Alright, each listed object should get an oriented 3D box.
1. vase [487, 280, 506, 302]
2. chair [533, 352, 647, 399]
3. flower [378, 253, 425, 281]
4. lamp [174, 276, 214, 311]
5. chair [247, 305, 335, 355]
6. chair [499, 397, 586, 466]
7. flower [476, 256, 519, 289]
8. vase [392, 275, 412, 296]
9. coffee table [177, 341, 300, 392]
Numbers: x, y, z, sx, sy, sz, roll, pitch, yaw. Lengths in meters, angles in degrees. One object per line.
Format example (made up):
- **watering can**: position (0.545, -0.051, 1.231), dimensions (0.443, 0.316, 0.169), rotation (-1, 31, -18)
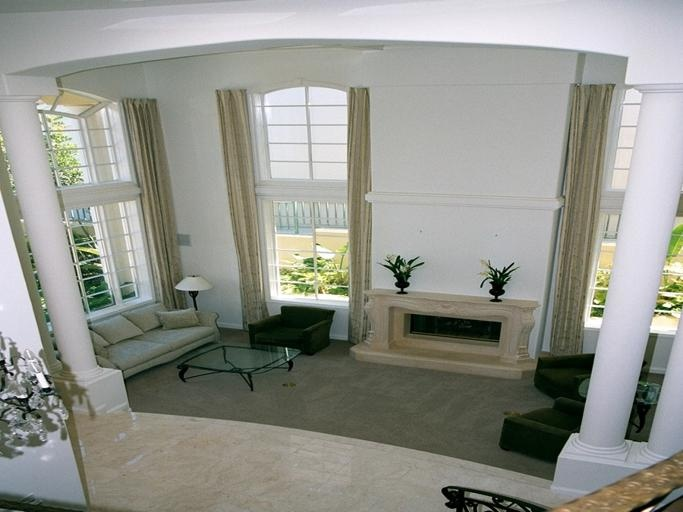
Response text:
- **vase**: position (2.741, 0.641, 8.848), dimensions (0.451, 0.332, 0.370), rotation (-1, 8, -18)
- **chair**: position (3.952, 1.980, 7.999), dimensions (1.416, 0.519, 1.372), rotation (-6, 8, -37)
- **flower**: position (1.170, 0.220, 9.504), dimensions (0.683, 0.276, 0.609), rotation (2, 5, -2)
- **lamp**: position (-3.235, 0.899, 10.879), dimensions (0.814, 0.727, 0.693), rotation (-6, -2, 21)
- **chair**: position (-0.968, 1.483, 10.209), dimensions (1.443, 0.540, 0.989), rotation (4, 18, 33)
- **chair**: position (2.690, 2.291, 6.595), dimensions (0.954, 0.422, 0.934), rotation (8, 17, 34)
- **flower**: position (2.794, 0.340, 8.842), dimensions (0.696, 0.305, 0.560), rotation (6, -3, -4)
- **vase**: position (1.136, 0.551, 9.288), dimensions (0.426, 0.326, 0.369), rotation (0, 13, 2)
- **coffee table**: position (-1.810, 1.860, 8.925), dimensions (1.476, 0.247, 0.891), rotation (4, 16, 20)
